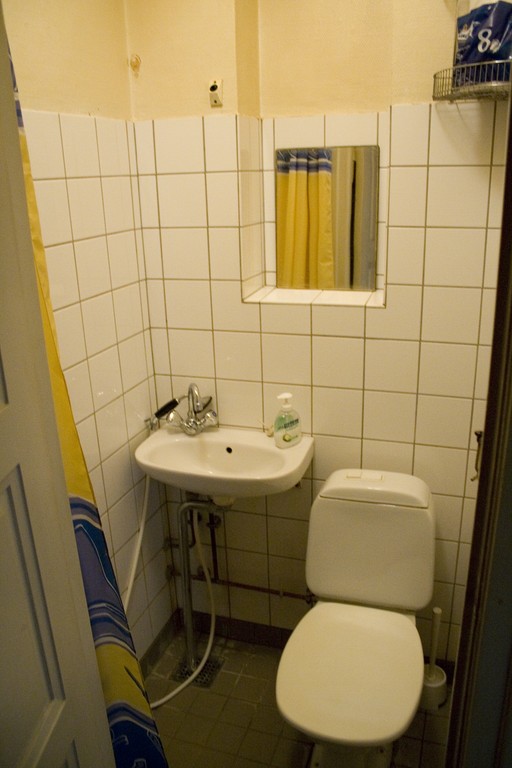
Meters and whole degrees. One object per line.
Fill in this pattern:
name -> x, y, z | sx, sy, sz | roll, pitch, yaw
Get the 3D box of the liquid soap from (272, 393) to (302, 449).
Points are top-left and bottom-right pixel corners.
liquid soap -> 0.114, 0.115, 1.955 | 0.097, 0.193, 0.137 | 0, 12, 7

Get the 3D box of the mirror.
mirror -> 0.247, -0.597, 1.993 | 0.348, 0.541, 0.008 | 3, 40, 9

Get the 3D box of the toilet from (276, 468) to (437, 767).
toilet -> 0.300, 0.796, 1.624 | 0.413, 0.879, 0.657 | 3, 13, 19

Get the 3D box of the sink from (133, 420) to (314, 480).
sink -> -0.117, 0.278, 1.940 | 0.618, 0.129, 0.368 | 2, 15, 14
